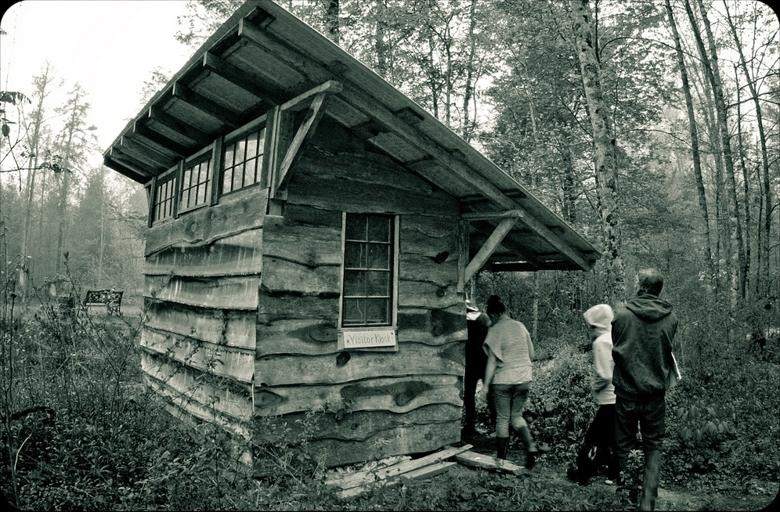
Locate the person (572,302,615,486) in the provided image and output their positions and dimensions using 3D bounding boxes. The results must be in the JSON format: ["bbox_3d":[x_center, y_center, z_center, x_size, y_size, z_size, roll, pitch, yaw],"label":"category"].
[{"bbox_3d":[4.729,3.131,17.078,0.891,4.038,1.259,1,-11,-8],"label":"person"}]
